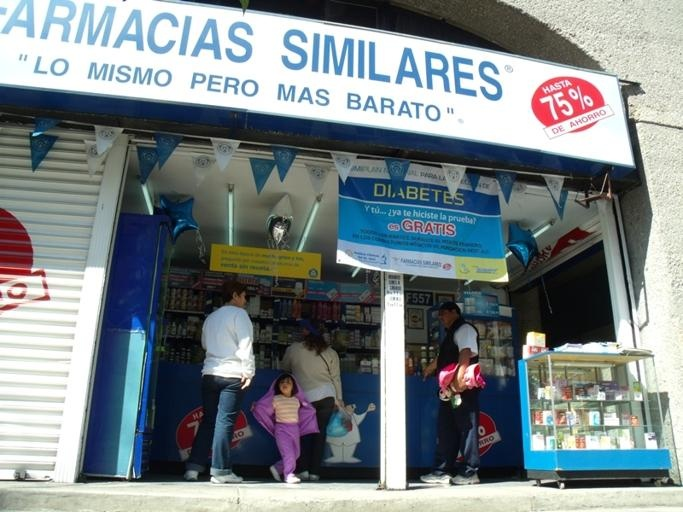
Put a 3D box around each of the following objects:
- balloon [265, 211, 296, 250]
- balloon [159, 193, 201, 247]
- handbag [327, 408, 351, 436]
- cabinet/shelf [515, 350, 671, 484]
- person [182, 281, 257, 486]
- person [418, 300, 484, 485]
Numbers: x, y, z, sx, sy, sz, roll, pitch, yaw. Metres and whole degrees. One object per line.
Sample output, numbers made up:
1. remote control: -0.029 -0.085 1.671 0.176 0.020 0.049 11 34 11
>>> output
1. balloon: -0.790 -0.329 7.606 0.302 0.432 0.426 4 -7 -4
2. balloon: -1.950 -0.478 7.162 0.437 0.733 0.549 6 -16 -18
3. handbag: -0.022 1.979 7.111 0.241 0.315 0.119 27 -17 -11
4. cabinet/shelf: 2.642 1.759 6.326 1.359 1.304 0.495 5 -19 -15
5. person: -1.164 1.217 6.007 0.678 2.006 0.328 -10 -19 34
6. person: 1.292 1.632 6.883 0.700 2.142 0.956 13 -40 -3
